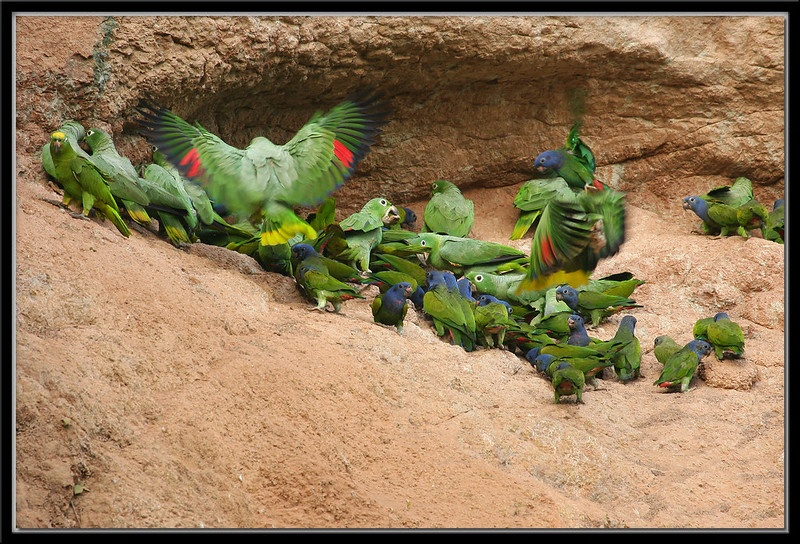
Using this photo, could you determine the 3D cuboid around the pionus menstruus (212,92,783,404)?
[{"bbox_3d":[0.920,-0.407,14.250,5.266,2.362,1.656,4,-10,4],"label":"pionus menstruus"}]
